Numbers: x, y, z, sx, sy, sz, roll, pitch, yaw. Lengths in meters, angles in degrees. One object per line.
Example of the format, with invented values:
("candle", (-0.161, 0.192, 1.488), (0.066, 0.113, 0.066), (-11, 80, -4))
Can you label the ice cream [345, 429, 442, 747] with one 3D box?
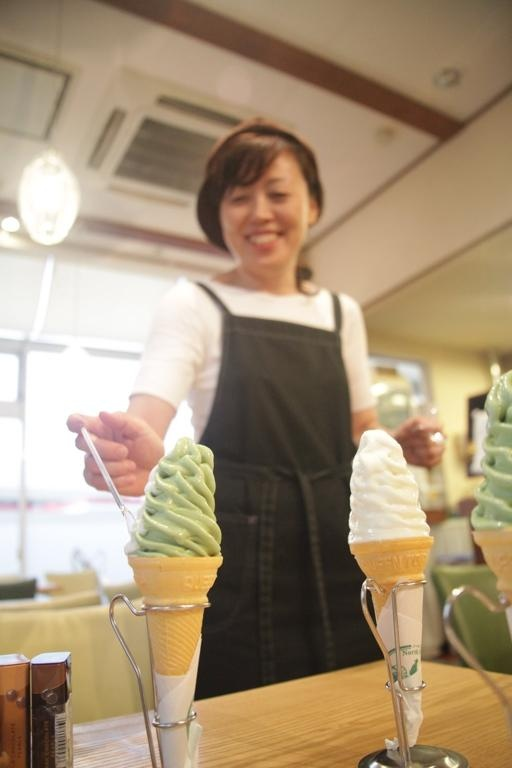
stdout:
("ice cream", (0.190, 0.254, 0.889), (0.106, 0.370, 0.098), (-6, -5, -10))
